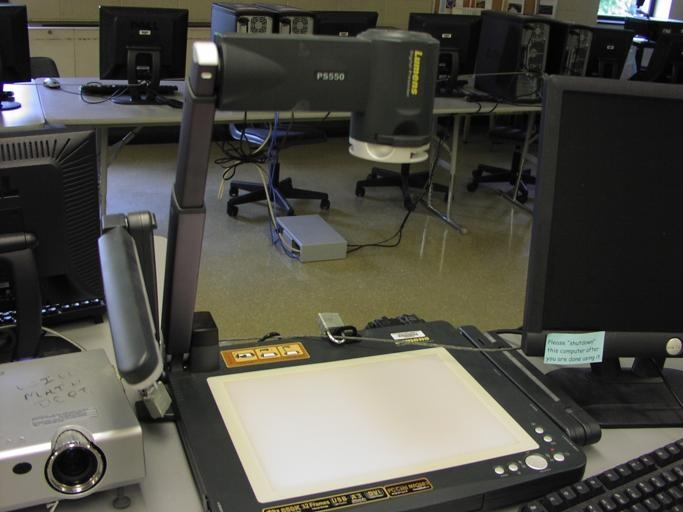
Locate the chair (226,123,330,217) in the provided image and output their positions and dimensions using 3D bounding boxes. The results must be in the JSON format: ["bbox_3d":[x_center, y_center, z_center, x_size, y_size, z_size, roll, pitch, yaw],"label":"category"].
[{"bbox_3d":[-0.491,-0.722,4.215,0.805,0.614,0.715,4,-4,-28],"label":"chair"}]

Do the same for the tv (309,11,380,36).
[{"bbox_3d":[-0.002,-1.707,3.938,0.243,0.153,0.711,19,28,35],"label":"tv"}]
